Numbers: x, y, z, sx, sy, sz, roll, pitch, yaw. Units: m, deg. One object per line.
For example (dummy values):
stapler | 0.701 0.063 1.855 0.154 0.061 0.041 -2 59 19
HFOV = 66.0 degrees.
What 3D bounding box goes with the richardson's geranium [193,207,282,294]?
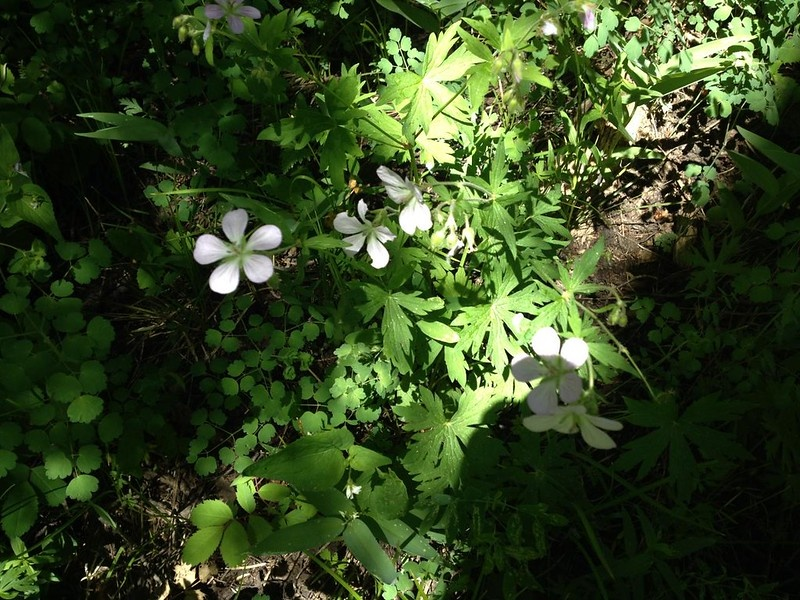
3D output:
richardson's geranium | -0.790 -0.236 3.000 0.417 0.401 0.149 55 3 -4
